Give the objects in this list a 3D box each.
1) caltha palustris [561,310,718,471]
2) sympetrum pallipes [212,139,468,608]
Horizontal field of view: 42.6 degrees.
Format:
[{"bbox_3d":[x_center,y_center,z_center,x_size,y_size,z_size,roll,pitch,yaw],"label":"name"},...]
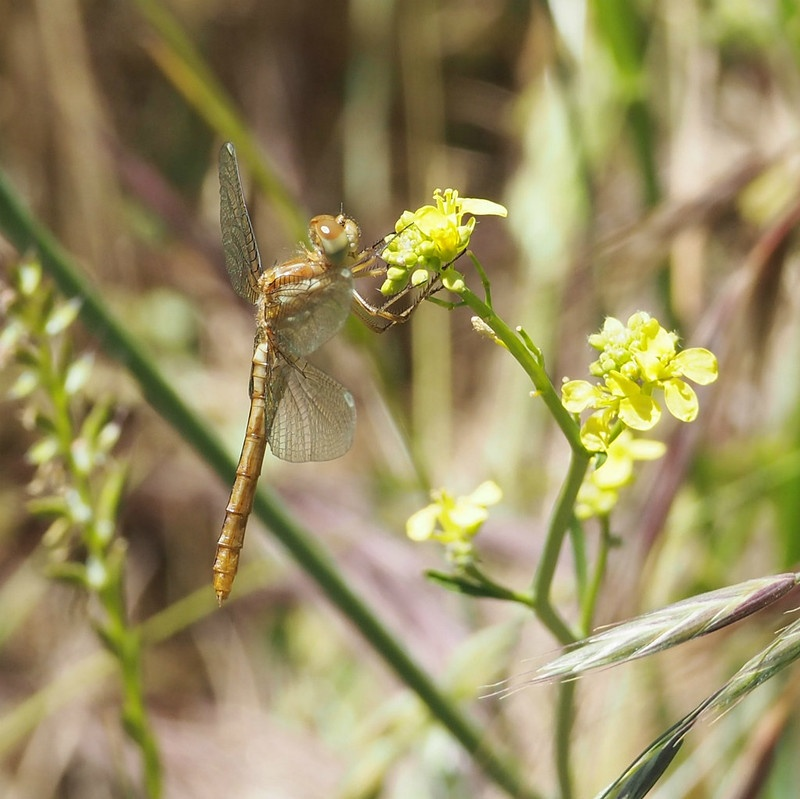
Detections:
[{"bbox_3d":[0.150,-0.007,0.661,0.103,0.092,0.039,-57,-15,6],"label":"caltha palustris"},{"bbox_3d":[-0.088,-0.033,0.828,0.171,0.343,0.100,-19,-12,41],"label":"sympetrum pallipes"}]
